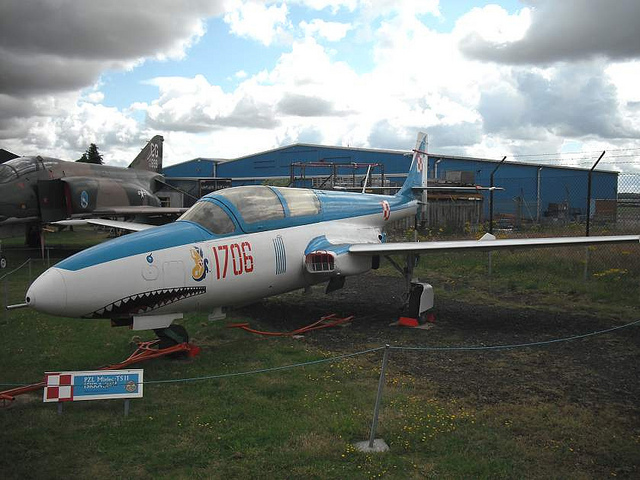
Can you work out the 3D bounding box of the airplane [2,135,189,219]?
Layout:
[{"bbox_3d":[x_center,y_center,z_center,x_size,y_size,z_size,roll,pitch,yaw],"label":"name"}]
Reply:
[{"bbox_3d":[-10.016,-2.302,20.775,6.438,2.188,6.123,3,7,25],"label":"airplane"}]
